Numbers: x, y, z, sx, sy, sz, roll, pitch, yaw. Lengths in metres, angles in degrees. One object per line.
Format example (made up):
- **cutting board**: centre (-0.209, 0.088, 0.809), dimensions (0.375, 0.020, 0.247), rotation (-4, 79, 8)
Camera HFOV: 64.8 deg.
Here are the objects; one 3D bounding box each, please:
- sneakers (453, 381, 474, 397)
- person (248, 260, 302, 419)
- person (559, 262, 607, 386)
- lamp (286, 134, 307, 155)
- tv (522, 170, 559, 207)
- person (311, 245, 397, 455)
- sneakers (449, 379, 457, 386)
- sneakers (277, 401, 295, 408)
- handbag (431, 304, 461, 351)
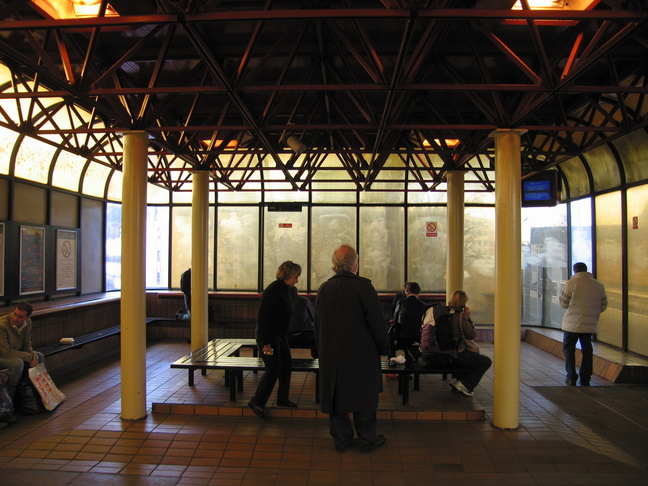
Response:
- **sneakers**: centre (2.426, 2.556, 9.030), dimensions (0.374, 0.160, 0.191), rotation (34, 0, -1)
- **person**: centre (-0.780, 1.507, 8.632), dimensions (0.790, 2.584, 1.337), rotation (0, 12, 1)
- **person**: centre (5.003, 1.647, 10.027), dimensions (0.801, 2.324, 0.871), rotation (8, 14, 32)
- **lamp**: centre (-0.551, -2.037, 10.621), dimensions (0.320, 0.385, 0.565), rotation (-8, 15, -33)
- **tv**: centre (4.898, -1.225, 11.539), dimensions (0.760, 0.807, 0.410), rotation (1, -6, 18)
- **person**: centre (0.394, 1.618, 7.367), dimensions (1.045, 2.986, 0.759), rotation (1, 12, 4)
- **sneakers**: centre (2.303, 2.495, 9.178), dimensions (0.134, 0.178, 0.144), rotation (-5, -13, 30)
- **sneakers**: centre (-0.619, 2.666, 8.472), dimensions (0.315, 0.140, 0.109), rotation (0, -2, 0)
- **handbag**: centre (2.096, 1.451, 8.750), dimensions (0.455, 0.743, 0.251), rotation (3, 13, 13)
